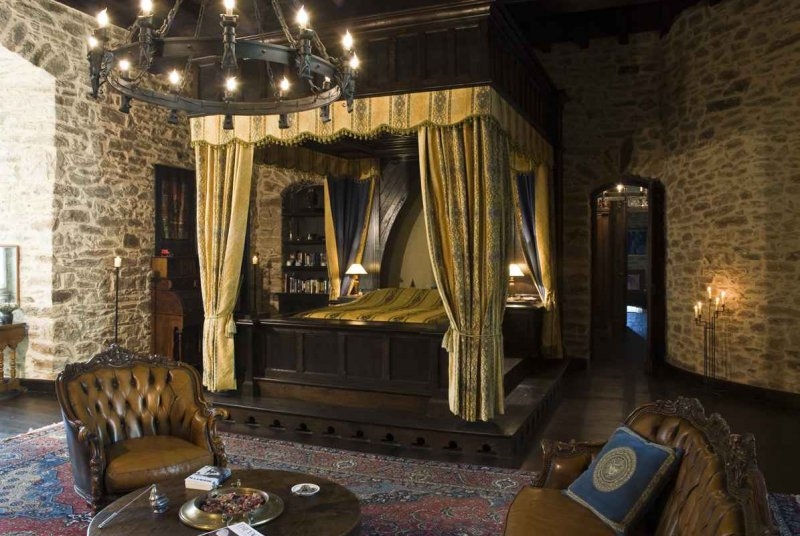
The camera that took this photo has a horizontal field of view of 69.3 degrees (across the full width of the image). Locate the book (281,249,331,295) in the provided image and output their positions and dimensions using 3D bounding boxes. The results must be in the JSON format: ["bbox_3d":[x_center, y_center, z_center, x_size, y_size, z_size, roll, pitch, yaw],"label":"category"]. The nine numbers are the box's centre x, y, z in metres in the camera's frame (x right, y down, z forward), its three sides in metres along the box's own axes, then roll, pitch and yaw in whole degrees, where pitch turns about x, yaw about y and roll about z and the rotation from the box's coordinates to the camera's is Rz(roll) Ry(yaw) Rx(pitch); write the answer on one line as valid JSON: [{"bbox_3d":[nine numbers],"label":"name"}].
[{"bbox_3d":[-1.773,0.101,11.135,0.948,0.802,0.324,-1,-4,16],"label":"book"}]

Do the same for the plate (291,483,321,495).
[{"bbox_3d":[-0.706,1.692,4.389,0.108,0.023,0.104,-3,4,-23],"label":"plate"}]

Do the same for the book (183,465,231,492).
[{"bbox_3d":[-1.526,1.680,4.574,0.210,0.045,0.203,2,4,14],"label":"book"}]

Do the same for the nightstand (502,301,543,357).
[{"bbox_3d":[1.934,0.966,9.032,0.799,0.992,1.124,-1,-3,22],"label":"nightstand"}]
